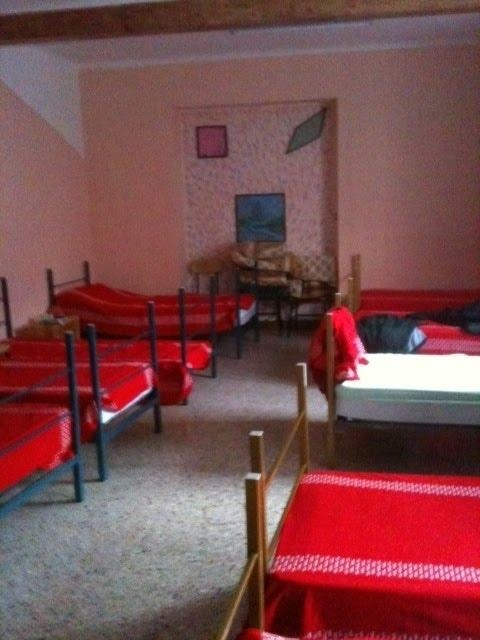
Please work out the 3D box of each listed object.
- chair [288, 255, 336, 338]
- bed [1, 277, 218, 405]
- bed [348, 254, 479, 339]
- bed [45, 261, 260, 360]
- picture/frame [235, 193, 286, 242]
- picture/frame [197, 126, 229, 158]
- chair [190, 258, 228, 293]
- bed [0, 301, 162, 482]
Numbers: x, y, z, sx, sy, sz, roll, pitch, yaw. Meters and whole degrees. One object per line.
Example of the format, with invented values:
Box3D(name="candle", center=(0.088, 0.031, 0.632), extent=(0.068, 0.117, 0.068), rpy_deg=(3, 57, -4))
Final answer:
Box3D(name="chair", center=(0.648, -0.205, 5.531), extent=(0.373, 0.598, 0.359), rpy_deg=(-8, -3, -28))
Box3D(name="bed", center=(-0.793, 0.132, 3.291), extent=(1.162, 0.532, 0.731), rpy_deg=(1, 9, 11))
Box3D(name="bed", center=(1.368, -0.165, 4.528), extent=(0.849, 0.431, 0.872), rpy_deg=(4, 9, 16))
Box3D(name="bed", center=(-0.773, 0.113, 4.649), extent=(1.504, 0.759, 0.886), rpy_deg=(0, -27, -13))
Box3D(name="picture/frame", center=(0.217, -1.026, 5.500), extent=(0.448, 0.441, 0.048), rpy_deg=(1, 15, 4))
Box3D(name="picture/frame", center=(-0.264, -1.735, 5.462), extent=(0.282, 0.294, 0.068), rpy_deg=(-3, 12, -1))
Box3D(name="chair", center=(-0.300, -0.457, 5.433), extent=(0.342, 0.335, 0.350), rpy_deg=(-1, 12, -1))
Box3D(name="bed", center=(-0.855, 0.291, 2.598), extent=(0.797, 0.543, 0.681), rpy_deg=(2, 10, 19))
